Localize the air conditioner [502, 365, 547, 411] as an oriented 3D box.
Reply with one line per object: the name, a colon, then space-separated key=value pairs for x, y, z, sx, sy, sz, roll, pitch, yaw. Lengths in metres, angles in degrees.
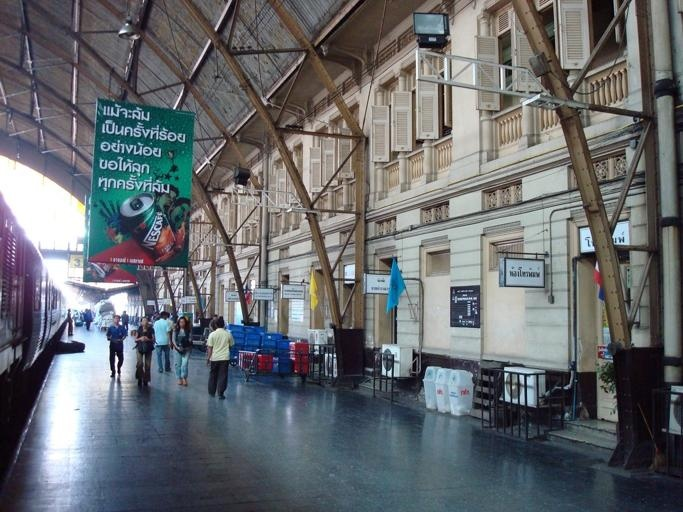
air conditioner: x=3.927 y=2.842 z=14.364 sx=0.432 sy=0.852 sz=0.866 roll=5 pitch=-6 yaw=-32

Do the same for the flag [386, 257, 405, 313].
flag: x=1.634 y=0.826 z=19.464 sx=0.503 sy=1.518 sz=1.263 roll=0 pitch=-1 yaw=6

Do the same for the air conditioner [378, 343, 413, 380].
air conditioner: x=1.501 y=2.978 z=18.758 sx=0.827 sy=0.938 sz=0.541 roll=5 pitch=6 yaw=43

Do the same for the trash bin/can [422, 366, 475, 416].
trash bin/can: x=2.651 y=3.317 z=16.176 sx=0.500 sy=1.095 sz=1.450 roll=1 pitch=-1 yaw=-30
